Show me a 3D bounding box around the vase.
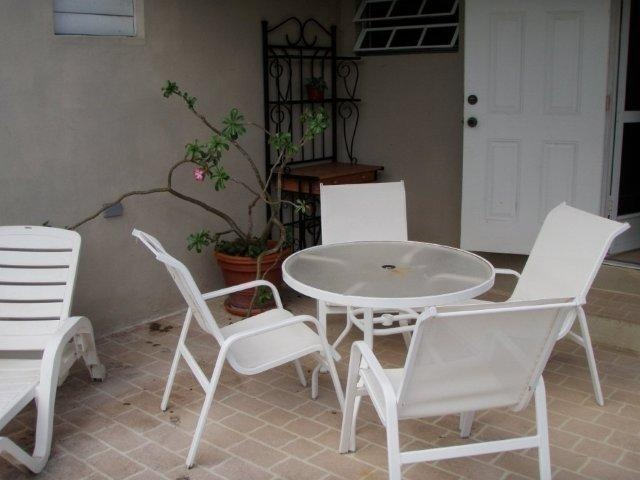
[{"bbox_3d":[-0.563,0.288,4.302,0.540,0.428,0.542,7,14,26],"label":"vase"}]

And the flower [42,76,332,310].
[{"bbox_3d":[-1.001,-0.258,4.232,1.782,1.763,1.080,-2,11,-30],"label":"flower"}]

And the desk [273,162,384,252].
[{"bbox_3d":[0.093,-0.311,5.044,0.866,0.788,0.520,-14,22,-36],"label":"desk"}]

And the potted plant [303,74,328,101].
[{"bbox_3d":[-0.036,-1.412,4.907,0.231,0.224,0.233,-10,18,-32],"label":"potted plant"}]
